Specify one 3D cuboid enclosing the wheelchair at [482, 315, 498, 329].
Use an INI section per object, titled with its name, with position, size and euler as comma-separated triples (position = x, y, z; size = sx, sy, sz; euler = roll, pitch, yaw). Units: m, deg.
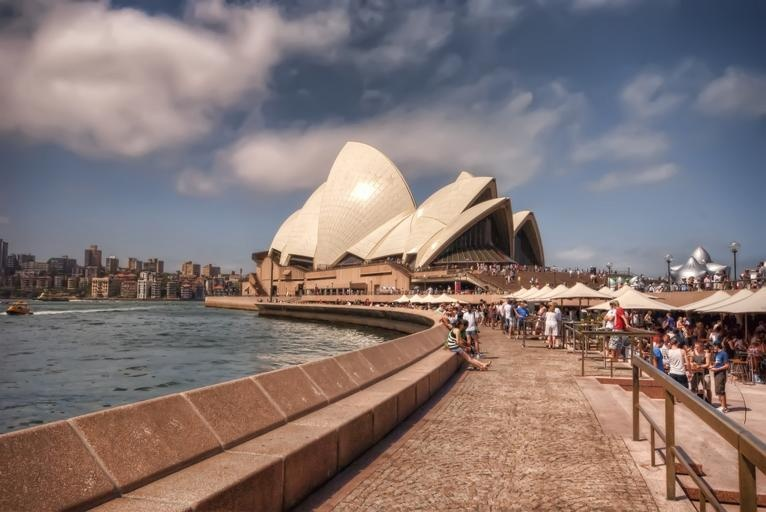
[wheelchair]
position = 6.455, 4.026, 28.620
size = 0.477, 0.575, 1.049
euler = 0, -11, -4
